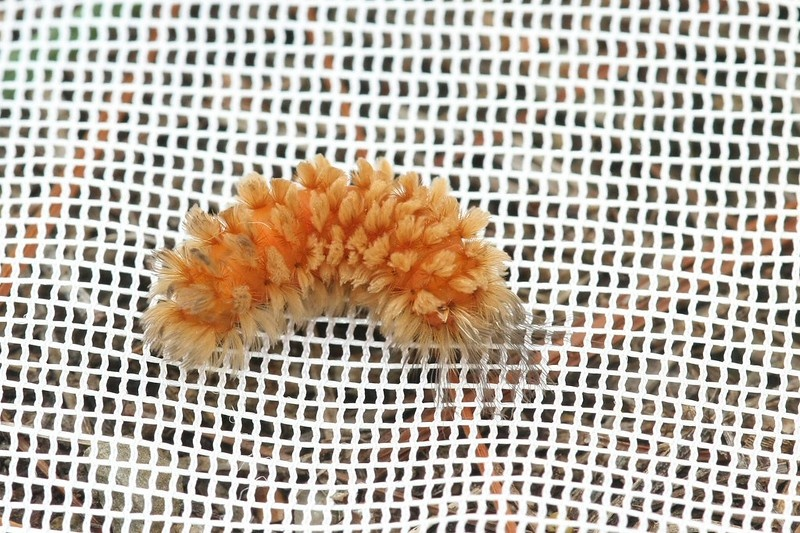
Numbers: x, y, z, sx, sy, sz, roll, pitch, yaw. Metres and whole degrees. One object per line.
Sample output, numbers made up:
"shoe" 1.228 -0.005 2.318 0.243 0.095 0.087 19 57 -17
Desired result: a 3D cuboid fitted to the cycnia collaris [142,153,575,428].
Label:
"cycnia collaris" -0.104 0.002 1.827 0.560 0.274 0.488 19 100 -3
